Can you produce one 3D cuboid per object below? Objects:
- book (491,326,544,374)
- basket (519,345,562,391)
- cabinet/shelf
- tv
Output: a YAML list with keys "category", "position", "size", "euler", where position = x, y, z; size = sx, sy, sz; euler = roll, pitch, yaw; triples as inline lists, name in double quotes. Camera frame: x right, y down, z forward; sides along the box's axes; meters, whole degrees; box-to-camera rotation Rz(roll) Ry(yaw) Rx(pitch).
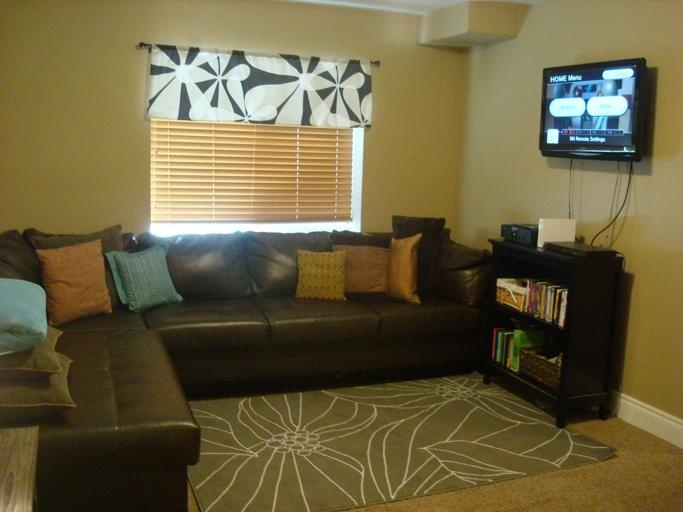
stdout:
- category: "book"
  position: [1.269, 0.657, 4.331]
  size: [0.380, 0.381, 0.275]
  euler: [1, 4, -29]
- category: "basket"
  position: [1.380, 0.777, 3.999]
  size: [0.229, 0.150, 0.236]
  euler: [5, 0, -18]
- category: "cabinet/shelf"
  position: [1.474, 0.447, 4.174]
  size: [0.509, 1.147, 0.871]
  euler: [-2, 11, -24]
- category: "tv"
  position: [1.723, -0.995, 3.914]
  size: [0.106, 0.671, 0.766]
  euler: [-3, 9, -29]
